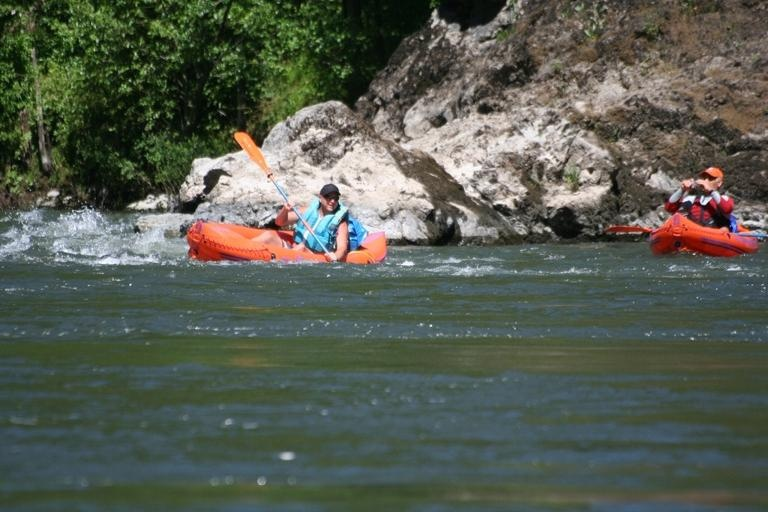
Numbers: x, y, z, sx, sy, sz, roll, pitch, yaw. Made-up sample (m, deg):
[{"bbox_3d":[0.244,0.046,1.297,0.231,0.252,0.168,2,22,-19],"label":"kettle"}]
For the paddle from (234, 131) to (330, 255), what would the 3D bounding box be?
[{"bbox_3d":[-1.814,-1.054,21.290,0.304,3.190,0.252,-39,-28,-2],"label":"paddle"}]

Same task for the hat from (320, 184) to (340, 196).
[{"bbox_3d":[-0.898,-1.070,19.409,0.286,0.172,0.412,0,7,-5],"label":"hat"}]

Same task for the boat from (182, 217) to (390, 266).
[{"bbox_3d":[-1.727,-0.110,18.920,2.233,0.484,1.245,4,7,-24],"label":"boat"}]
